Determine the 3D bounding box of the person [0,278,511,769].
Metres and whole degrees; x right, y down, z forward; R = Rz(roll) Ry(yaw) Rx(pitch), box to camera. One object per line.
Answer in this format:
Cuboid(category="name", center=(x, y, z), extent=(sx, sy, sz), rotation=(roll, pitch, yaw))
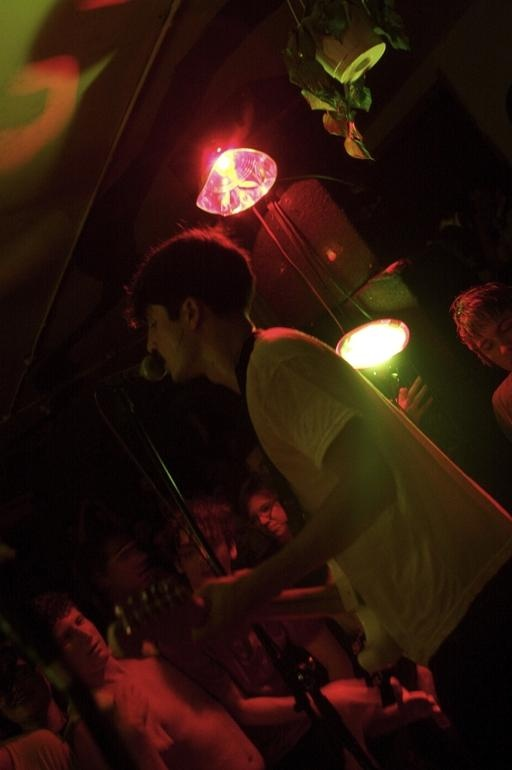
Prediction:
Cuboid(category="person", center=(0.220, 0.275, 1.813), extent=(0.731, 1.369, 0.590), rotation=(-29, -10, 19))
